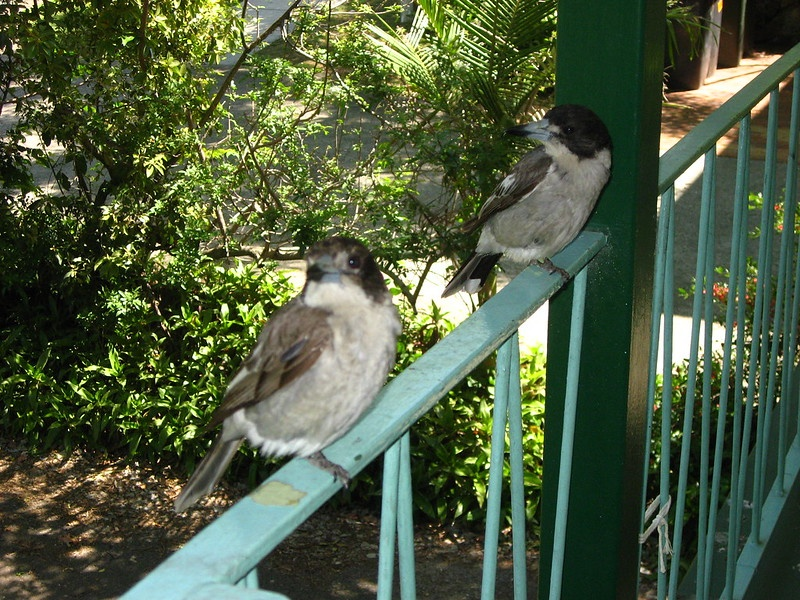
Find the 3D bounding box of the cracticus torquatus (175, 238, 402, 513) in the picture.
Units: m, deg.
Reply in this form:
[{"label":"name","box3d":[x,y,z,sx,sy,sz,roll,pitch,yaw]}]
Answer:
[{"label":"cracticus torquatus","box3d":[-0.223,0.125,1.942,0.377,0.615,0.249,11,-4,42]}]
